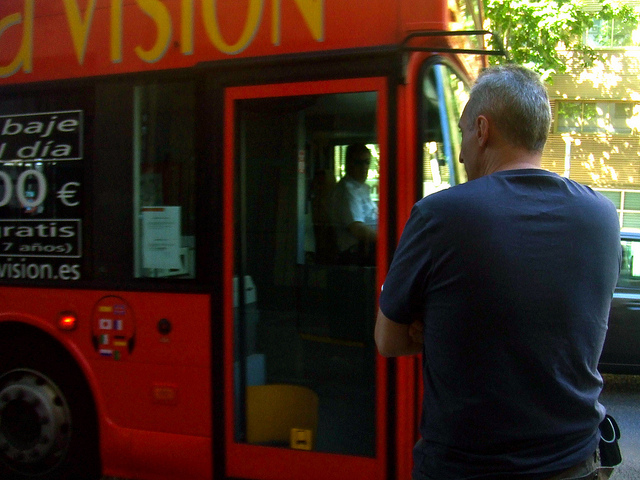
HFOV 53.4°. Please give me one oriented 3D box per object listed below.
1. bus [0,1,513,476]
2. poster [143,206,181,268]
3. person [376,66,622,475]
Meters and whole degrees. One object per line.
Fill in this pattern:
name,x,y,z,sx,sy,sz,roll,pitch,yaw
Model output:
bus,-0.369,-0.046,3.913,2.642,2.829,1.176,1,0,15
poster,-1.066,-0.025,4.290,0.271,0.401,0.035,-1,-1,14
person,0.762,0.128,2.667,1.018,1.762,0.321,-1,-1,3
